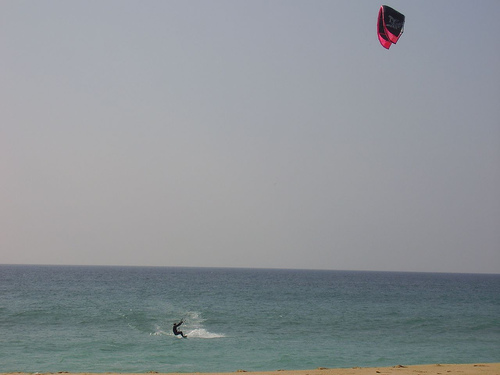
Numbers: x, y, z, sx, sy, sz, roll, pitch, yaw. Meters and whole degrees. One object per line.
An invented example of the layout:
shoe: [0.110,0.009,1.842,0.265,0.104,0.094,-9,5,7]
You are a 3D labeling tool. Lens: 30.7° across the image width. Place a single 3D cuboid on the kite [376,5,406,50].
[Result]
kite: [19.982,-22.534,128.450,2.394,4.917,5.358,-2,-42,-8]
